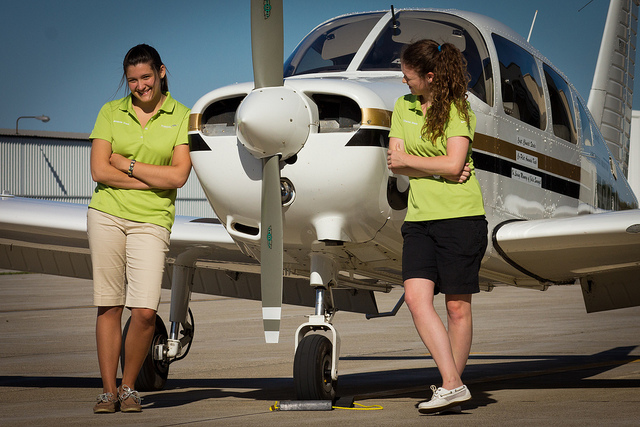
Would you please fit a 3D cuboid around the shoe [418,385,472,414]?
[{"bbox_3d":[0.794,1.202,3.792,0.325,0.201,0.132,-3,-4,8],"label":"shoe"}]

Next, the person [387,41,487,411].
[{"bbox_3d":[0.761,0.078,3.837,0.600,2.371,0.363,-2,-4,10],"label":"person"}]

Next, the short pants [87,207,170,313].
[{"bbox_3d":[-1.310,0.310,4.062,0.509,0.696,0.119,-2,-4,6],"label":"short pants"}]

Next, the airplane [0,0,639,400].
[{"bbox_3d":[0.299,0.147,5.150,4.973,2.239,3.811,2,0,32],"label":"airplane"}]

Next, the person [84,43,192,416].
[{"bbox_3d":[-1.238,0.111,4.085,0.719,2.525,0.365,-1,-4,-14],"label":"person"}]

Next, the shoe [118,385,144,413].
[{"bbox_3d":[-1.324,1.293,4.128,0.131,0.165,0.398,11,-11,-24],"label":"shoe"}]

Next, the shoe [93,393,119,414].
[{"bbox_3d":[-1.440,1.287,3.970,0.087,0.082,0.189,0,-15,1],"label":"shoe"}]
